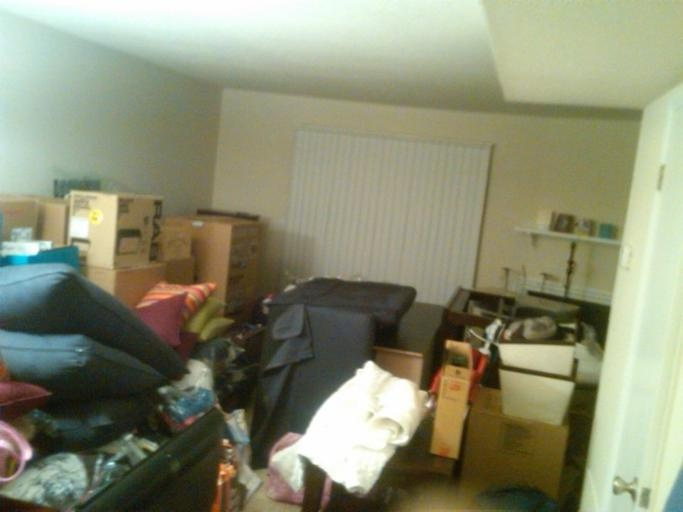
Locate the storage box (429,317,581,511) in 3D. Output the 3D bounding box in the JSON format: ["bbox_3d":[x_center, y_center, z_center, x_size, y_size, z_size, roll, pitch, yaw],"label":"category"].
[{"bbox_3d":[0.928,0.868,2.799,0.791,0.906,0.498,6,5,15],"label":"storage box"}]
